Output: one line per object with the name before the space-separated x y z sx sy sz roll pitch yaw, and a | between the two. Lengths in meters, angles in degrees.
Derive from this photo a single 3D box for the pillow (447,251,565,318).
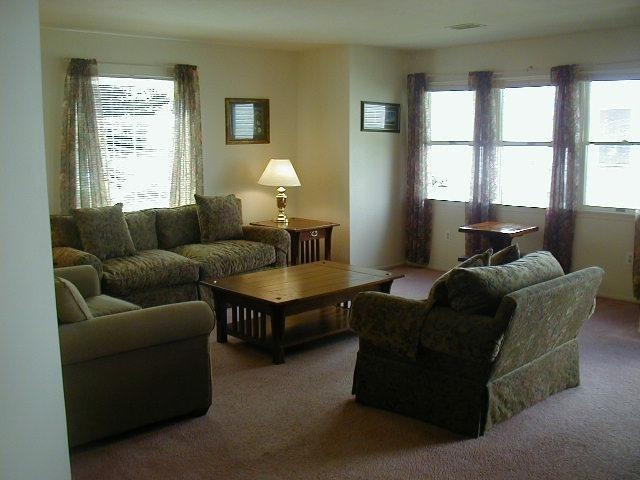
pillow | 1.132 0.257 3.095 0.927 0.262 0.267 -8 13 -38

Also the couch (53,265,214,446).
couch | -1.240 0.535 3.235 0.805 1.075 1.412 -6 8 -32

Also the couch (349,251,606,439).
couch | 0.947 0.303 3.213 1.410 1.028 1.019 -9 12 -44

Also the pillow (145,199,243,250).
pillow | -1.398 -0.182 5.672 0.631 0.696 0.187 -9 4 -28

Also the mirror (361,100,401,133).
mirror | 0.827 -1.625 6.680 0.636 0.406 0.015 14 24 40

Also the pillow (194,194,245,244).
pillow | -1.158 -0.252 5.847 0.225 0.525 0.609 8 11 36

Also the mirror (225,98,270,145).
mirror | -0.982 -1.571 6.592 0.578 0.541 0.041 -9 14 -38

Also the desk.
desk | 1.974 -0.071 5.672 0.660 0.437 0.686 5 11 35

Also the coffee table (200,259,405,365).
coffee table | -0.321 0.453 4.265 0.825 0.487 1.212 7 12 40

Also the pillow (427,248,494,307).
pillow | 0.850 0.245 3.097 0.390 0.121 0.302 -33 27 -25

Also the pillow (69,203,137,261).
pillow | -2.119 -0.091 4.975 0.261 0.523 0.528 5 11 30

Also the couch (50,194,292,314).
couch | -1.528 0.190 5.393 1.026 1.213 2.348 2 8 41
